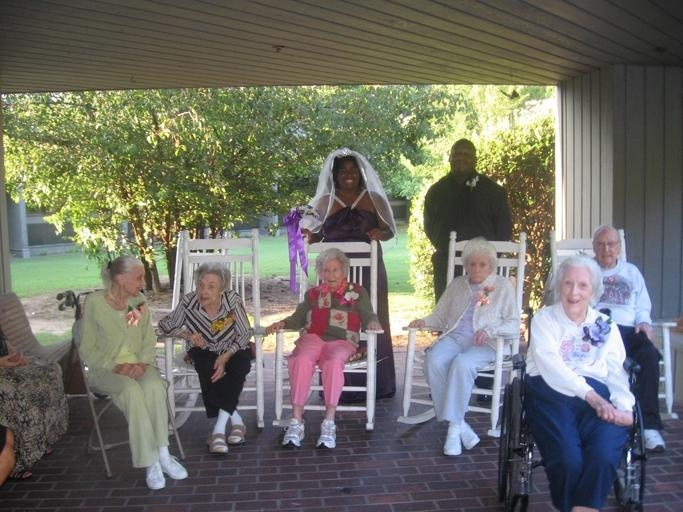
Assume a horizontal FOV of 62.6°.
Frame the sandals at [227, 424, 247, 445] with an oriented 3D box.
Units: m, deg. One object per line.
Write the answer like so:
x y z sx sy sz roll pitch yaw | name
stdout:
-0.814 1.375 4.360 0.134 0.112 0.236 -2 7 -9 | sandals

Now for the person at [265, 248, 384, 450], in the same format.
-0.088 0.697 4.413 0.741 1.430 0.686 -1 7 -3 | person

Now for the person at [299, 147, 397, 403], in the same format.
0.060 -0.013 5.389 0.909 2.015 0.686 -4 30 0 | person

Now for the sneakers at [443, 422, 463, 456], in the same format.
0.818 1.346 4.138 0.131 0.215 0.169 1 7 9 | sneakers

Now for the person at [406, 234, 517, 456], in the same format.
0.969 0.539 4.372 0.765 1.338 0.658 -5 9 -31 | person

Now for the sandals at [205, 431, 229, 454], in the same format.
-0.928 1.408 4.206 0.088 0.109 0.268 2 -10 -14 | sandals

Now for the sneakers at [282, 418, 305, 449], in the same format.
-0.370 1.342 4.291 0.164 0.201 0.253 -1 7 -1 | sneakers

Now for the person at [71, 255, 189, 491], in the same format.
-1.449 0.767 3.852 0.597 1.488 0.723 -5 8 -28 | person

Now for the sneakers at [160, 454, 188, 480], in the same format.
-1.157 1.442 3.839 0.253 0.105 0.092 -1 2 45 | sneakers

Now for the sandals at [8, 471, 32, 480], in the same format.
-2.175 1.509 3.823 0.151 0.047 0.056 -1 15 -16 | sandals

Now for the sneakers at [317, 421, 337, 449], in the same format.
-0.118 1.346 4.266 0.147 0.183 0.233 -1 7 -2 | sneakers

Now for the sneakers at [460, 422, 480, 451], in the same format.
0.969 1.368 4.244 0.142 0.153 0.174 1 8 14 | sneakers

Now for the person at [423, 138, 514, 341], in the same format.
1.182 0.046 5.485 0.896 2.256 0.698 2 5 24 | person

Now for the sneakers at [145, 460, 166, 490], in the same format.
-1.219 1.465 3.709 0.082 0.089 0.214 1 -4 -23 | sneakers
